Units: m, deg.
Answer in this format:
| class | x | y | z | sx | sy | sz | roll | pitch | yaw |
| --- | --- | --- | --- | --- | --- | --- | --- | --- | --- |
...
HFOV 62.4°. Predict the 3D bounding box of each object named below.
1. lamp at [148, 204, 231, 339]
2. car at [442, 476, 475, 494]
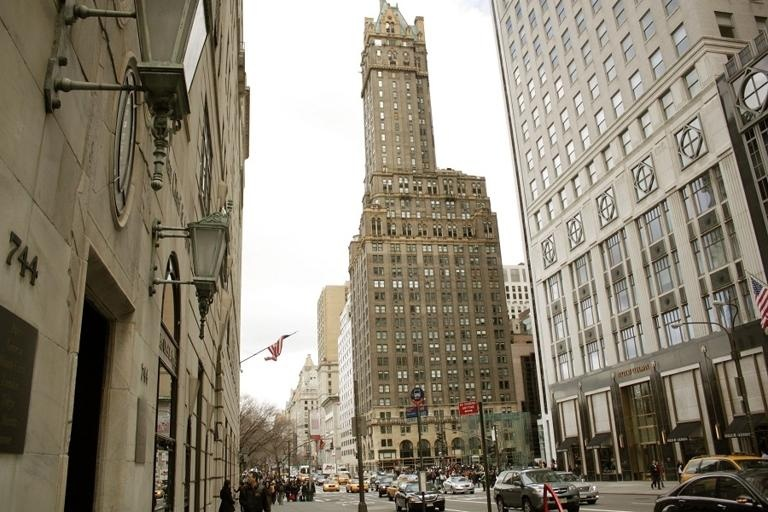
| class | x | y | z | sx | sy | sz | roll | pitch | yaw |
| --- | --- | --- | --- | --- | --- | --- | --- | --- | --- |
| lamp | -3.504 | 0.205 | 11.357 | 1.300 | 2.578 | 0.812 | 2 | -25 | -14 |
| car | 5.474 | 17.460 | 48.378 | 1.187 | 0.807 | 2.615 | 3 | -24 | -11 |
